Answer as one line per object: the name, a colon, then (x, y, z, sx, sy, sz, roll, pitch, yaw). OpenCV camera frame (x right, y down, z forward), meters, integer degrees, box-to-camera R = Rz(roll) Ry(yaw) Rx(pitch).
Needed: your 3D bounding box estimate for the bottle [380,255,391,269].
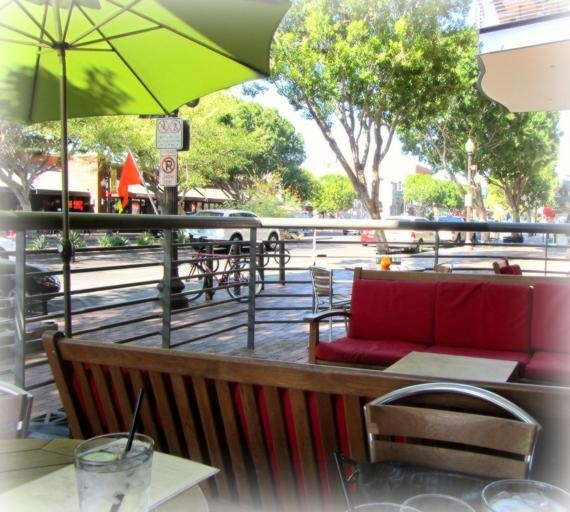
bottle: (1.450, 0.091, 6.249, 0.143, 0.157, 0.151, -2, 13, 28)

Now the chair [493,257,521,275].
chair: (3.395, 0.144, 6.644, 0.326, 0.471, 0.307, 2, -3, -37)

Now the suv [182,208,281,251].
suv: (-2.689, -0.977, 20.390, 2.268, 2.127, 5.246, 3, 7, 36)

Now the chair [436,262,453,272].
chair: (2.353, 0.186, 6.409, 0.238, 0.214, 0.277, 0, -3, 6)
